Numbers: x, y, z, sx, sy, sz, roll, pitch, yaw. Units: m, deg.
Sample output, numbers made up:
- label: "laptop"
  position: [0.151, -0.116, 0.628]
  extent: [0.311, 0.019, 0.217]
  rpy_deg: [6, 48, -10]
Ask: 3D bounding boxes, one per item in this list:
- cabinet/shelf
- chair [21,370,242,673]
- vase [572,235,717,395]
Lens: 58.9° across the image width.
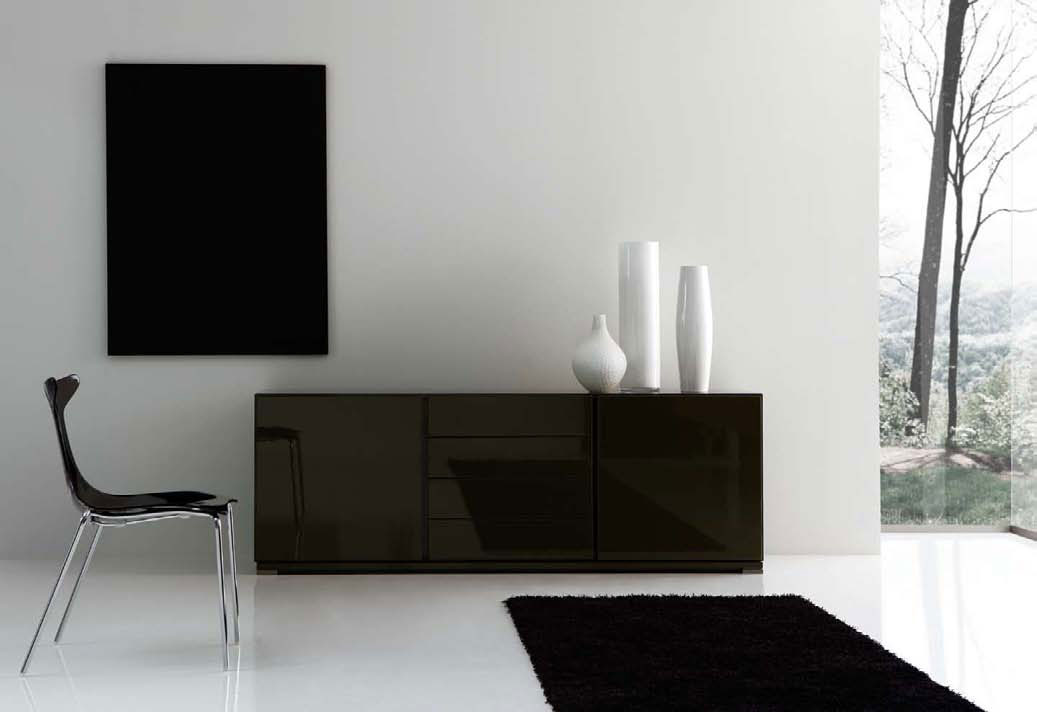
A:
- label: "cabinet/shelf"
  position: [-0.057, 0.609, 5.439]
  extent: [2.900, 1.074, 0.766]
  rpy_deg: [0, 14, 0]
- label: "chair"
  position: [-1.949, 0.691, 4.654]
  extent: [0.966, 1.293, 1.651]
  rpy_deg: [-3, 10, -18]
- label: "vase"
  position: [0.726, -0.209, 5.321]
  extent: [0.791, 0.878, 0.555]
  rpy_deg: [1, 9, 9]
